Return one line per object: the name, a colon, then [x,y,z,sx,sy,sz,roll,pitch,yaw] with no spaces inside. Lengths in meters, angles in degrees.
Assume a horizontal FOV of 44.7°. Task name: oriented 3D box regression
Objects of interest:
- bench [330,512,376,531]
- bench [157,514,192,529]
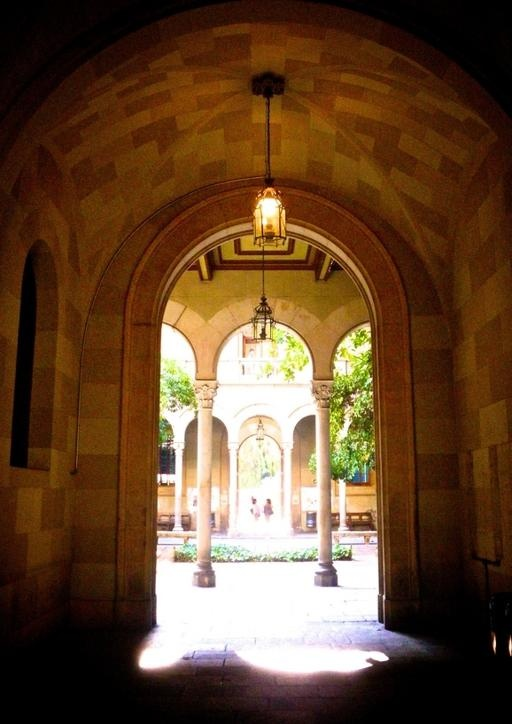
bench: [3.996,6.431,25.204,1.496,0.737,2.398,3,-15,-9]
bench: [-3.696,6.950,27.162,1.282,0.694,1.911,-6,-17,23]
